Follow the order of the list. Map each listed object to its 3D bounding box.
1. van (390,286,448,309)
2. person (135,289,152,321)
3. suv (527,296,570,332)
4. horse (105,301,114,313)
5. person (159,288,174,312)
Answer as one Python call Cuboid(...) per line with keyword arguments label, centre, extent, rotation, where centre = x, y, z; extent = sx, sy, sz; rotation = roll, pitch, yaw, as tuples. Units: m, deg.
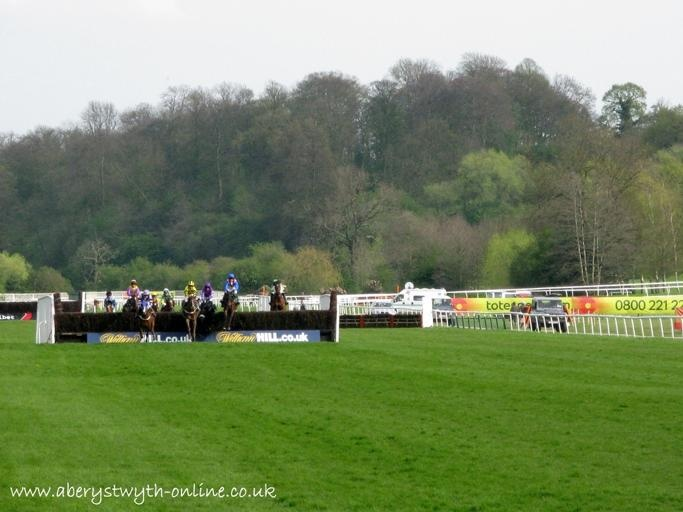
Cuboid(label="van", centre=(5.657, 2.967, 83.694), extent=(2.275, 1.338, 1.900), rotation=(2, -2, 13))
Cuboid(label="person", centre=(-10.728, 2.501, 64.261), extent=(0.487, 1.925, 1.000), rotation=(0, -5, -2))
Cuboid(label="suv", centre=(12.695, 3.547, 73.766), extent=(2.290, 2.301, 3.696), rotation=(-2, -6, 10))
Cuboid(label="horse", centre=(-15.017, 3.264, 77.159), extent=(0.546, 0.813, 0.277), rotation=(2, 2, 5))
Cuboid(label="person", centre=(-11.873, 3.008, 80.598), extent=(0.494, 1.002, 1.785), rotation=(-2, -32, -8))
